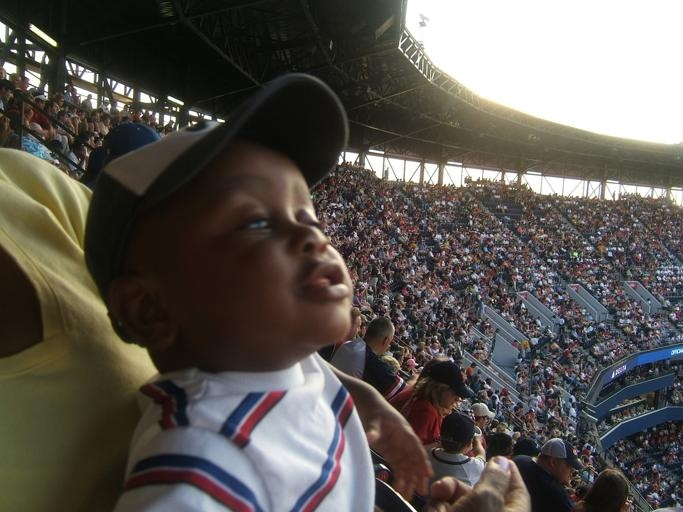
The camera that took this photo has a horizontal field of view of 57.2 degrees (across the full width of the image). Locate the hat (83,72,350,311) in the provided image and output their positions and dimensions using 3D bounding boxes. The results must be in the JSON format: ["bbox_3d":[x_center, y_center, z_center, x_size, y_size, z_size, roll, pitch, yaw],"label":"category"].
[{"bbox_3d":[-0.245,-0.155,1.410,0.560,0.431,0.223,12,3,-41],"label":"hat"}]

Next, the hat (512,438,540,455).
[{"bbox_3d":[1.398,1.429,4.792,0.126,0.134,0.199,4,-12,31],"label":"hat"}]

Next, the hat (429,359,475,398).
[{"bbox_3d":[0.644,0.703,3.709,0.182,0.212,0.313,17,4,36],"label":"hat"}]

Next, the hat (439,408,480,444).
[{"bbox_3d":[0.625,0.884,3.348,0.106,0.105,0.177,3,18,18],"label":"hat"}]
